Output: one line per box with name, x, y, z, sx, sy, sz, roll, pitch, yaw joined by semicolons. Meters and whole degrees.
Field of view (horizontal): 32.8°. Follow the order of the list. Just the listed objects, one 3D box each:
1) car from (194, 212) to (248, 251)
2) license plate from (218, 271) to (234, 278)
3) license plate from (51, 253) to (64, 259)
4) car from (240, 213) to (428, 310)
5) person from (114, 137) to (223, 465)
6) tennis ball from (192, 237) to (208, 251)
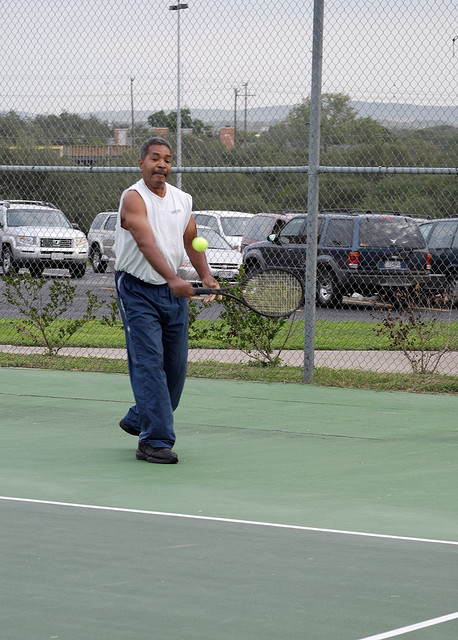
car;-0.004;-2.583;20.904;1.080;0.826;1.809;-5;18;-26
license plate;-0.083;-1.117;19.389;0.375;0.158;0.324;1;3;0
license plate;-4.841;-1.776;21.942;0.326;0.172;0.070;1;4;-9
car;2.066;-1.400;17.105;2.044;1.521;4.238;-5;10;-43
person;-0.391;-0.136;4.789;0.682;1.983;0.620;2;3;16
tennis ball;-0.177;-0.457;4.732;0.080;0.077;0.167;1;3;-3
